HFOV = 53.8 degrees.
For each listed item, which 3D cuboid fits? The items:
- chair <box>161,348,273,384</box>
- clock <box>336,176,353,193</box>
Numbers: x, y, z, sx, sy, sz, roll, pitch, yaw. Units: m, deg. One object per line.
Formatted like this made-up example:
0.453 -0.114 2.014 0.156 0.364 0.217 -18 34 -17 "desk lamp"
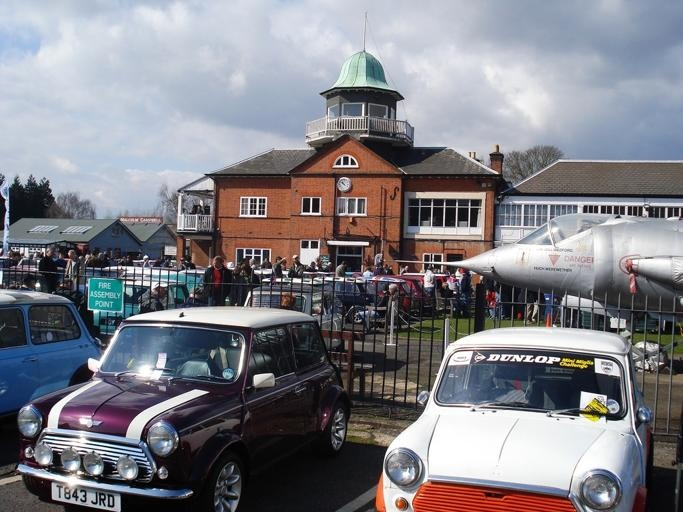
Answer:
-1.524 1.237 7.506 0.487 0.256 0.670 3 0 12 "chair"
0.155 -4.433 41.896 0.988 0.957 0.090 3 4 17 "clock"
